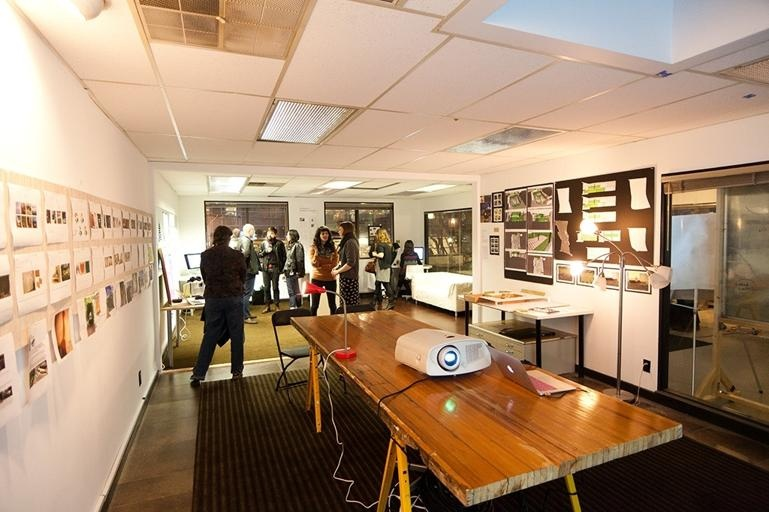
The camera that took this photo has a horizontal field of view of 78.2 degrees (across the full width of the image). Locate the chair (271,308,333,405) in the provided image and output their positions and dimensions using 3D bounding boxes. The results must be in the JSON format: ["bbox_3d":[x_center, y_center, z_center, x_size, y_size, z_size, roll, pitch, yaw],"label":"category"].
[{"bbox_3d":[-0.842,1.004,4.969,0.679,0.819,0.649,-1,-1,27],"label":"chair"}]

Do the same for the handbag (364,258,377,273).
[{"bbox_3d":[-0.294,0.203,9.667,0.170,0.303,0.359,1,4,-24],"label":"handbag"}]

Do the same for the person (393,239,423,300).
[{"bbox_3d":[0.538,0.141,10.268,0.527,0.842,0.483,-4,1,-20],"label":"person"}]

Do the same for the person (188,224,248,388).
[{"bbox_3d":[-1.843,0.505,5.240,0.600,1.638,0.254,-4,13,-20],"label":"person"}]

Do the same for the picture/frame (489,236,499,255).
[{"bbox_3d":[1.602,-0.163,6.938,0.025,0.317,0.287,2,-1,-20],"label":"picture/frame"}]

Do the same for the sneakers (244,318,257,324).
[{"bbox_3d":[-2.266,1.102,8.027,0.271,0.104,0.092,-1,-1,30],"label":"sneakers"}]

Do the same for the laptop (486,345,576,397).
[{"bbox_3d":[0.989,0.758,3.253,0.560,0.251,0.559,-3,5,10],"label":"laptop"}]

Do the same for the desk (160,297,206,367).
[{"bbox_3d":[-2.701,1.035,6.309,0.500,0.427,0.890,-3,9,-18],"label":"desk"}]

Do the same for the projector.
[{"bbox_3d":[0.427,0.728,3.488,0.557,0.252,0.544,0,-3,-25],"label":"projector"}]

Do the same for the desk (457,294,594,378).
[{"bbox_3d":[1.406,0.909,5.728,0.699,0.574,1.212,-9,5,-9],"label":"desk"}]
